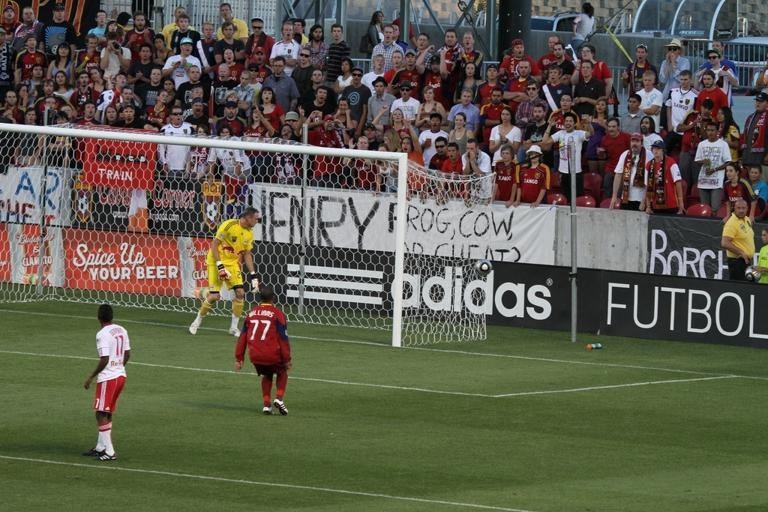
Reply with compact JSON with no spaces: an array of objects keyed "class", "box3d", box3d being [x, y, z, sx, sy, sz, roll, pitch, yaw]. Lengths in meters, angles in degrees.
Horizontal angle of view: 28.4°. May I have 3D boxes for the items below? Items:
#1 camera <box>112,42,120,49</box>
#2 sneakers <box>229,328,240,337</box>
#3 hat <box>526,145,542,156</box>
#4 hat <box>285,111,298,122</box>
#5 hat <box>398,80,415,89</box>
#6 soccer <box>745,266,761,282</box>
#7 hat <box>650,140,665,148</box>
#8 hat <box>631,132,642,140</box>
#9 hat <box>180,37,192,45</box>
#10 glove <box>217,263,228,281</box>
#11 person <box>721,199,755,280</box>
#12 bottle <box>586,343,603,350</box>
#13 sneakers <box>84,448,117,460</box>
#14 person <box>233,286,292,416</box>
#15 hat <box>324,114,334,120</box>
[{"class":"camera","box3d":[-6.412,-5.079,36.471,0.140,0.136,0.137,2,3,-11]},{"class":"sneakers","box3d":[-2.885,1.503,29.603,0.251,0.100,0.139,-1,-3,41]},{"class":"hat","box3d":[3.219,-2.258,32.238,0.320,0.195,0.501,1,4,4]},{"class":"hat","box3d":[-2.032,-3.117,33.929,0.334,0.241,0.356,0,4,-3]},{"class":"hat","box3d":[0.526,-3.857,34.036,0.276,0.139,0.330,1,-2,6]},{"class":"soccer","box3d":[7.324,0.355,29.994,0.274,0.270,0.241,8,-4,24]},{"class":"hat","box3d":[5.709,-2.323,31.475,0.278,0.172,0.413,1,4,9]},{"class":"hat","box3d":[5.301,-2.494,31.659,0.218,0.142,0.336,1,4,9]},{"class":"hat","box3d":[-4.654,-5.105,35.957,0.297,0.151,0.418,-1,3,-11]},{"class":"glove","box3d":[-3.056,0.279,29.045,0.215,0.342,0.177,0,4,-8]},{"class":"person","box3d":[7.021,-0.319,30.074,0.482,1.591,0.503,3,5,35]},{"class":"bottle","box3d":[4.129,1.761,29.427,0.200,0.074,0.149,-5,1,-28]},{"class":"sneakers","box3d":[-4.189,2.943,22.651,0.490,0.187,0.175,9,-1,7]},{"class":"person","box3d":[-1.946,1.536,24.746,0.856,2.026,0.697,0,4,-6]},{"class":"hat","box3d":[-1.220,-3.154,33.888,0.216,0.215,0.121,-2,3,19]}]
